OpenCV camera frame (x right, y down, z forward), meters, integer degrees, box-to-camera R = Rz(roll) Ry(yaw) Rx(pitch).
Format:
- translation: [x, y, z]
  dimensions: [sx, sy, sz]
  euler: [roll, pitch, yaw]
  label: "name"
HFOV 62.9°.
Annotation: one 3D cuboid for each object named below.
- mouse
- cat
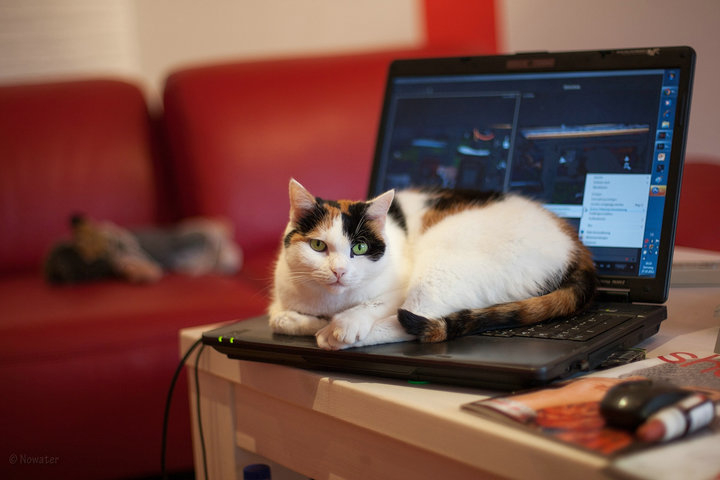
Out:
- translation: [0.459, 0.260, 0.938]
  dimensions: [0.138, 0.058, 0.071]
  euler: [-5, 14, -28]
  label: "mouse"
- translation: [0.160, 0.056, 1.285]
  dimensions: [0.533, 0.223, 0.419]
  euler: [-4, 2, -36]
  label: "cat"
